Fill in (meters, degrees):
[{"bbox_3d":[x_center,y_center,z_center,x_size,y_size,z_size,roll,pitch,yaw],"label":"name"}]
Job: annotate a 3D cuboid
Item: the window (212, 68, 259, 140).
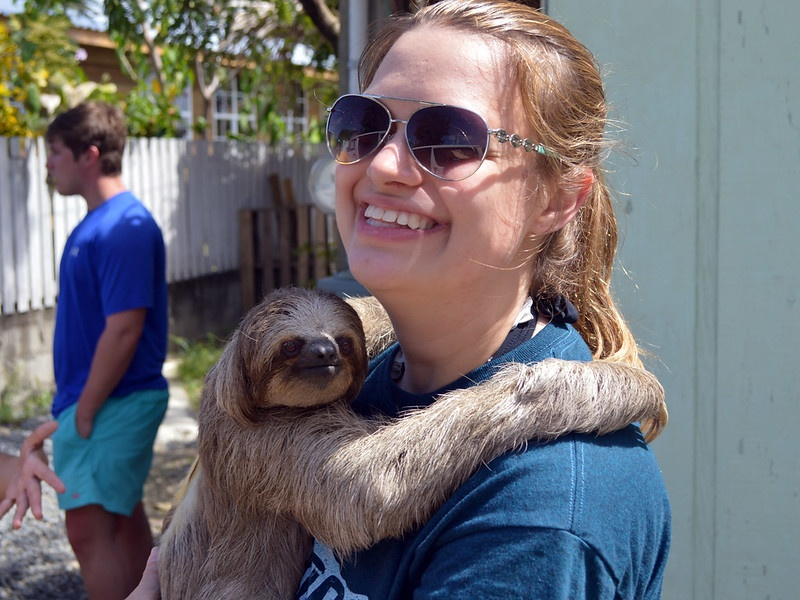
[{"bbox_3d":[-2.990,-3.354,17.989,0.779,1.584,0.113,-2,46,-13],"label":"window"}]
